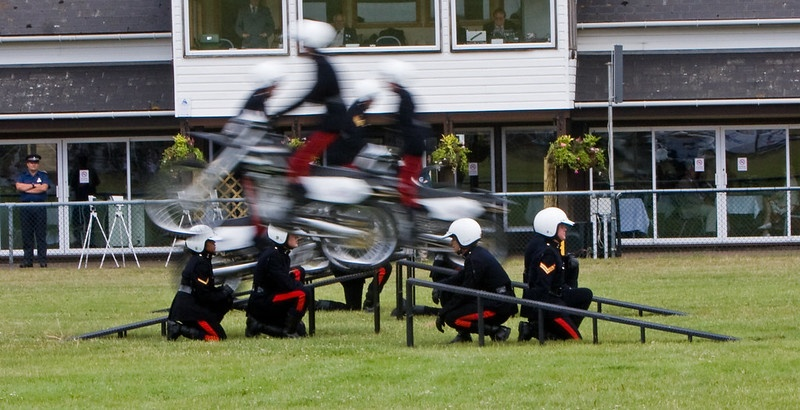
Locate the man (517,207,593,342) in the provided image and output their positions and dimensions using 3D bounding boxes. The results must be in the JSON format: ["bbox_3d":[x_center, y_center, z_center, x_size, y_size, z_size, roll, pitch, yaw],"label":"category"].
[{"bbox_3d":[3.765,1.650,48.211,1.538,3.251,0.845,1,-2,-19],"label":"man"}]

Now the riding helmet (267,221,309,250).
[{"bbox_3d":[-2.892,0.699,49.082,0.794,0.551,0.570,22,-1,1],"label":"riding helmet"}]

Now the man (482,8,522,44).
[{"bbox_3d":[2.928,-5.186,57.079,0.899,1.044,0.441,-2,2,-4],"label":"man"}]

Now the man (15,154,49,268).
[{"bbox_3d":[-10.426,0.139,55.681,0.885,3.173,1.425,1,-2,-11],"label":"man"}]

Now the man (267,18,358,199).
[{"bbox_3d":[-2.141,-2.469,49.262,1.632,4.391,0.737,1,-2,-12],"label":"man"}]

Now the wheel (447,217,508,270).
[{"bbox_3d":[1.998,0.942,50.774,1.170,1.367,1.058,1,-2,14],"label":"wheel"}]

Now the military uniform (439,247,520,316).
[{"bbox_3d":[1.734,1.899,48.799,2.406,1.712,1.823,6,7,14],"label":"military uniform"}]

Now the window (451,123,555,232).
[{"bbox_3d":[2.970,-0.788,55.125,3.570,3.603,0.265,1,-1,1],"label":"window"}]

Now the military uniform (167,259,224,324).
[{"bbox_3d":[-4.827,2.075,49.035,1.704,1.602,1.453,-5,7,-18],"label":"military uniform"}]
